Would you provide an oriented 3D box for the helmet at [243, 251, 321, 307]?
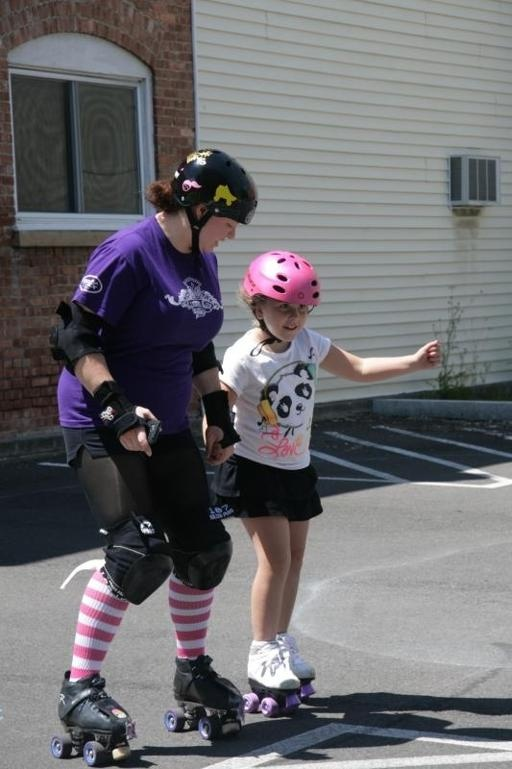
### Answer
[{"bbox_3d":[0.090,-0.393,3.336,0.240,0.154,0.327,-5,11,-29],"label":"helmet"}]

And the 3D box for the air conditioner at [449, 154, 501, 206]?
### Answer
[{"bbox_3d":[3.142,-2.973,13.431,0.258,0.764,0.973,4,6,44],"label":"air conditioner"}]

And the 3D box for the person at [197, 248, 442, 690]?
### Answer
[{"bbox_3d":[0.102,0.287,3.614,0.871,1.498,1.042,26,13,32],"label":"person"}]

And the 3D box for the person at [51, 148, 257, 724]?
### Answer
[{"bbox_3d":[-0.294,0.159,2.884,0.614,1.705,0.766,-9,-10,38],"label":"person"}]

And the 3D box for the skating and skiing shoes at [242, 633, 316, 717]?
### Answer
[{"bbox_3d":[0.075,0.995,3.228,0.263,0.238,0.224,-1,-2,33],"label":"skating and skiing shoes"}]

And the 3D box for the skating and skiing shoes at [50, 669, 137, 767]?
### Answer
[{"bbox_3d":[-0.469,0.966,2.676,0.247,0.240,0.118,4,6,43],"label":"skating and skiing shoes"}]

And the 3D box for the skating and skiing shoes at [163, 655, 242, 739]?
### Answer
[{"bbox_3d":[-0.151,0.976,2.943,0.294,0.238,0.150,-5,-1,43],"label":"skating and skiing shoes"}]
